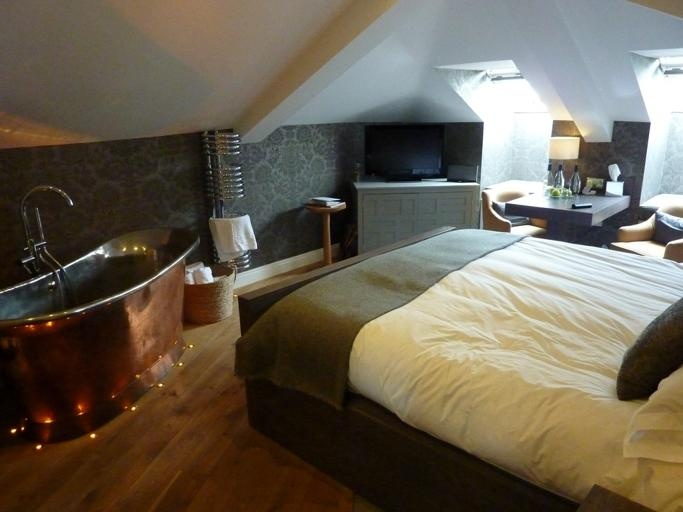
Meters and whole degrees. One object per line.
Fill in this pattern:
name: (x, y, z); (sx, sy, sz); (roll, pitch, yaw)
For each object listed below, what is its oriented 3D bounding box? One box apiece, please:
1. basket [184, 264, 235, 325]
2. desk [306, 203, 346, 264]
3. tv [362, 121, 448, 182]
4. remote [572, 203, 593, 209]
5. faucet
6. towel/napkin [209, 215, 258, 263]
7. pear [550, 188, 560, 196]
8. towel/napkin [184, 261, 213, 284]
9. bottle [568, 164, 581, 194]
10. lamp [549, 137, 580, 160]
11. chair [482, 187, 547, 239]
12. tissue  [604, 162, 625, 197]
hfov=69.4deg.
basket: (-1.102, 0.314, 4.186); (0.350, 0.306, 0.422); (-1, 12, 2)
desk: (-0.195, -0.250, 5.414); (0.484, 0.876, 0.513); (0, 22, 2)
tv: (0.736, -1.198, 5.714); (0.937, 0.631, 0.141); (-3, 11, -9)
remote: (2.210, -0.454, 4.534); (0.206, 0.037, 0.125); (0, 11, 4)
faucet: (-2.047, -0.284, 3.399); (0.309, 0.523, 0.167); (15, 37, 1)
towel/napkin: (-0.957, -0.202, 4.468); (0.361, 0.368, 0.390); (2, 17, 32)
pear: (2.212, -0.656, 5.085); (0.063, 0.048, 0.082); (-2, 9, 2)
towel/napkin: (-1.195, 0.157, 4.162); (0.182, 0.070, 0.191); (3, 24, 3)
bottle: (2.523, -0.818, 5.308); (0.114, 0.297, 0.357); (4, 12, 25)
lamp: (2.330, -1.127, 5.160); (0.276, 0.222, 0.146); (-4, 11, -13)
chair: (1.719, -0.419, 4.933); (0.392, 0.552, 0.424); (-12, 24, -21)
tissue : (2.831, -0.784, 5.098); (0.173, 0.332, 0.204); (5, 13, 29)
